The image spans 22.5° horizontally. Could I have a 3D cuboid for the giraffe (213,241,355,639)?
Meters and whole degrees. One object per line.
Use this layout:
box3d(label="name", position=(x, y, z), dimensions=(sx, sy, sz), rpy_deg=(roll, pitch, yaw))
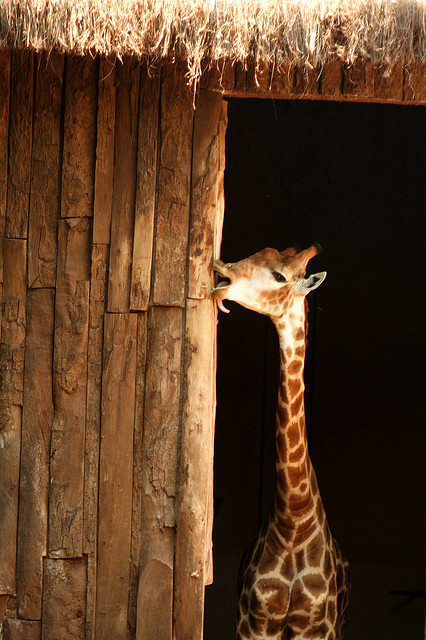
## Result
box3d(label="giraffe", position=(0.295, 0.550, 4.233), dimensions=(0.521, 1.477, 1.568), rpy_deg=(2, -10, 8))
